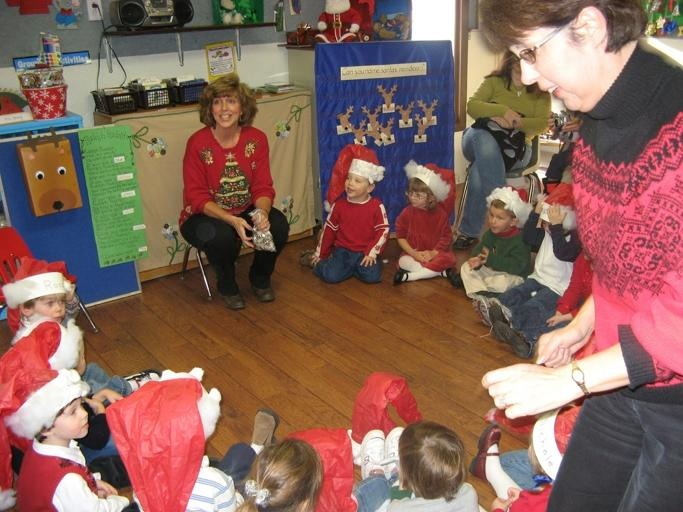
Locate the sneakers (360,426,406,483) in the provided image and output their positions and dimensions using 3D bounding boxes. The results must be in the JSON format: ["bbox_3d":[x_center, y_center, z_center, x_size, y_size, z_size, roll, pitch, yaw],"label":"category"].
[{"bbox_3d":[0.155,0.741,2.060,0.167,0.262,0.094,2,2,3],"label":"sneakers"}]

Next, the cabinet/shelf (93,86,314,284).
[{"bbox_3d":[-1.025,-0.489,3.578,1.288,1.015,0.412,-20,30,-36],"label":"cabinet/shelf"}]

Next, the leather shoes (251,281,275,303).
[{"bbox_3d":[-0.553,0.248,3.604,0.084,0.084,0.196,-16,23,-30],"label":"leather shoes"}]

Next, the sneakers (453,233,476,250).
[{"bbox_3d":[1.015,-0.123,4.279,0.205,0.094,0.099,-18,22,-34],"label":"sneakers"}]

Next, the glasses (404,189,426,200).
[{"bbox_3d":[0.539,-0.433,3.737,0.159,0.083,0.046,19,31,33],"label":"glasses"}]

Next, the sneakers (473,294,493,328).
[{"bbox_3d":[0.864,0.345,3.123,0.085,0.211,0.074,6,45,32],"label":"sneakers"}]

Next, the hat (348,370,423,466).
[{"bbox_3d":[0.187,0.649,2.132,0.177,0.251,0.559,-2,3,-3],"label":"hat"}]

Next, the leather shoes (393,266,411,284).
[{"bbox_3d":[0.442,0.147,3.737,0.099,0.104,0.281,10,-3,2],"label":"leather shoes"}]

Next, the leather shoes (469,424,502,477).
[{"bbox_3d":[0.609,0.818,2.198,0.107,0.263,0.088,9,-14,47],"label":"leather shoes"}]

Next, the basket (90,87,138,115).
[{"bbox_3d":[-1.592,-1.058,3.513,0.337,0.153,0.190,7,27,13],"label":"basket"}]

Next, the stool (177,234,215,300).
[{"bbox_3d":[-1.094,0.047,3.826,0.201,0.284,0.204,8,18,-18],"label":"stool"}]

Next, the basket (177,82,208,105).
[{"bbox_3d":[-1.059,-1.143,3.616,0.125,0.150,0.217,29,37,36],"label":"basket"}]

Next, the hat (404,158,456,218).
[{"bbox_3d":[0.644,-0.506,3.870,0.380,0.385,0.152,-23,23,-30],"label":"hat"}]

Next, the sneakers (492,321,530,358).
[{"bbox_3d":[0.971,0.473,2.969,0.109,0.097,0.260,4,36,-50],"label":"sneakers"}]

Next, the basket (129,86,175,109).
[{"bbox_3d":[-1.314,-1.110,3.561,0.148,0.085,0.203,-16,29,-28],"label":"basket"}]

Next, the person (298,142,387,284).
[{"bbox_3d":[0.029,-0.328,3.947,0.751,1.082,0.691,14,30,30],"label":"person"}]
